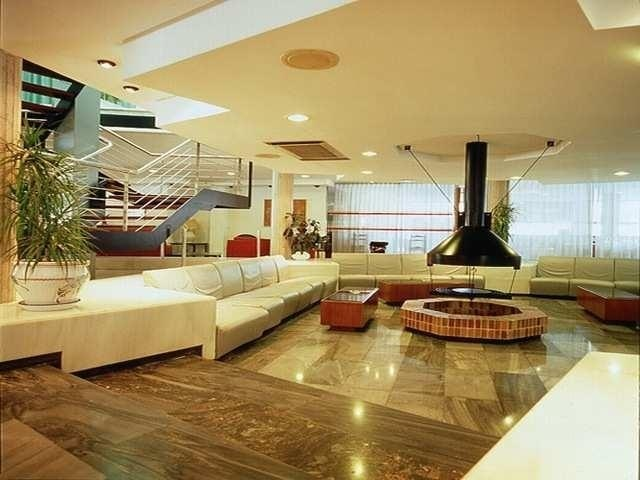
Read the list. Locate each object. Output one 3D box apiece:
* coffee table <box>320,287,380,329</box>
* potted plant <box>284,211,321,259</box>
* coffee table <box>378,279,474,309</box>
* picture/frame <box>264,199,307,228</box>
[{"bbox_3d":[0.338,0.944,5.925,0.561,0.249,1.074,0,1,15],"label":"coffee table"},{"bbox_3d":[-0.371,-0.089,9.482,1.237,0.981,1.070,-1,1,2],"label":"potted plant"},{"bbox_3d":[1.948,0.967,7.951,1.688,0.448,1.112,1,4,6],"label":"coffee table"},{"bbox_3d":[-0.771,-0.639,10.397,1.577,0.751,0.046,0,-4,-5],"label":"picture/frame"}]
